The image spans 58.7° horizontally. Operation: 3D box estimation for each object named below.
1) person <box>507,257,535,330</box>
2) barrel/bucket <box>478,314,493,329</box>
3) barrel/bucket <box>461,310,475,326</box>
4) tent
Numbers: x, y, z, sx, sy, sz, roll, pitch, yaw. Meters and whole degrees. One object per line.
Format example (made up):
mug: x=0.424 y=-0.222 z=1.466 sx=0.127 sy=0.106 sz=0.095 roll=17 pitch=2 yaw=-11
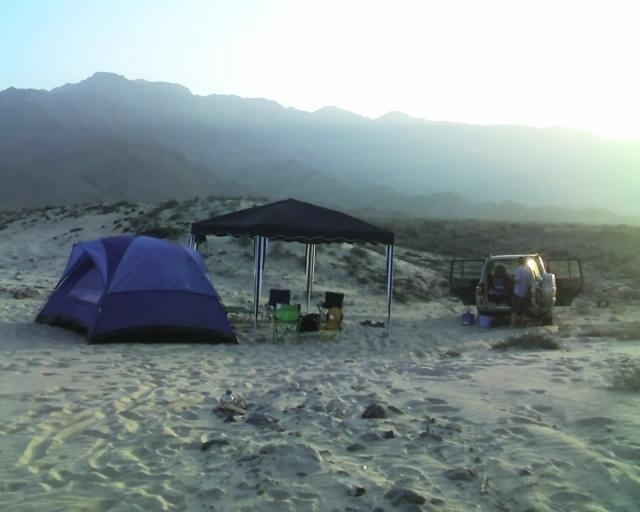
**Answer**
person: x=4.347 y=0.788 z=12.244 sx=0.421 sy=1.450 sz=0.342 roll=1 pitch=9 yaw=19
barrel/bucket: x=3.760 y=1.500 z=13.000 sx=0.273 sy=0.267 sz=0.276 roll=2 pitch=-17 yaw=1
barrel/bucket: x=3.570 y=1.466 z=13.602 sx=0.339 sy=0.330 sz=0.597 roll=-6 pitch=-3 yaw=16
tent: x=-3.394 y=0.663 z=10.493 sx=2.738 sy=1.275 sz=2.212 roll=3 pitch=0 yaw=18
